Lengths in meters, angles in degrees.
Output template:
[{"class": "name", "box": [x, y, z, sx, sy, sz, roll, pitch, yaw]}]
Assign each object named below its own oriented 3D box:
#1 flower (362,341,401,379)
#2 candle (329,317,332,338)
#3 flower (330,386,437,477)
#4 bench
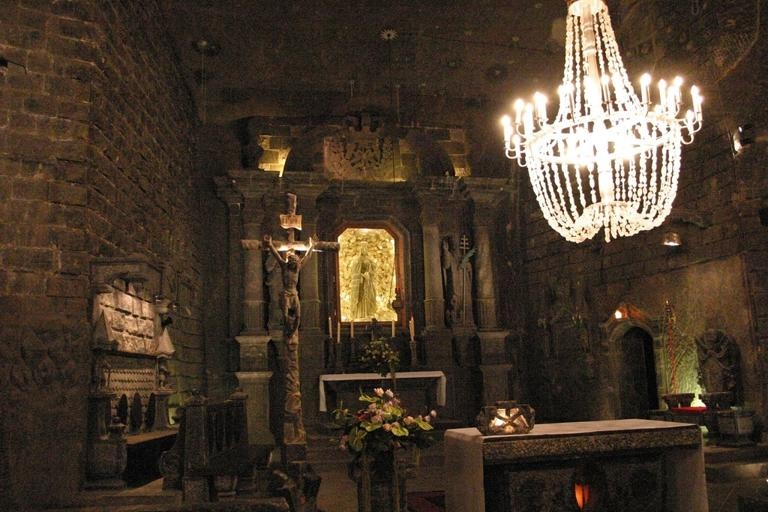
[{"class": "flower", "box": [-0.009, 1.809, 13.661, 0.763, 0.508, 0.755, 5, 20, -17]}, {"class": "candle", "box": [-1.015, 1.345, 14.393, 0.075, 0.415, 0.140, 0, -14, -8]}, {"class": "flower", "box": [0.030, 1.980, 9.255, 1.655, 1.112, 1.618, 1, -4, 1]}, {"class": "bench", "box": [-1.907, 2.383, 9.331, 0.732, 1.123, 1.492, -6, -14, 6]}]
